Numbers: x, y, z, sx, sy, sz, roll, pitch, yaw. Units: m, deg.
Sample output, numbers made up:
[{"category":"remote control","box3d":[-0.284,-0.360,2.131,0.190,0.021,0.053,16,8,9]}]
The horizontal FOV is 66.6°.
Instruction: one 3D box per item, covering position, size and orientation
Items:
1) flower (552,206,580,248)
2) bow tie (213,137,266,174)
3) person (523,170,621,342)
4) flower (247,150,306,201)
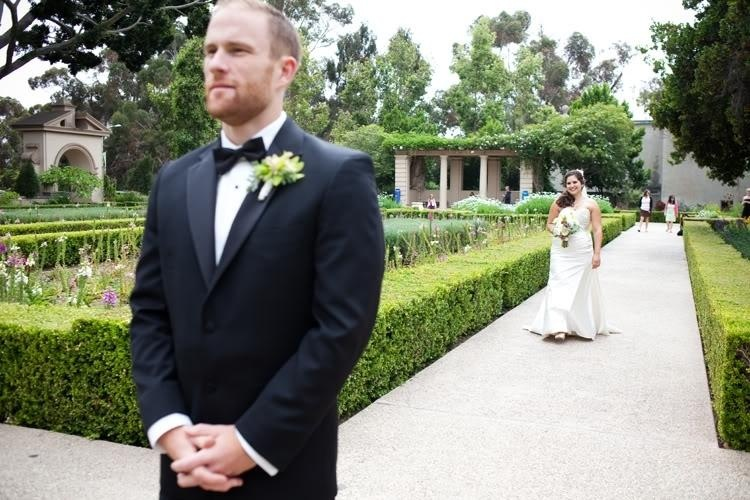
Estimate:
[{"category":"flower","box3d":[2.371,-0.193,7.155,0.302,0.312,0.284,10,-15,-40]},{"category":"bow tie","box3d":[-0.576,-0.408,2.399,0.229,0.145,0.047,-22,54,-18]},{"category":"person","box3d":[2.456,0.052,7.046,0.948,2.015,1.156,6,11,26]},{"category":"flower","box3d":[-0.402,-0.302,2.335,0.200,0.198,0.074,-35,-7,-17]}]
